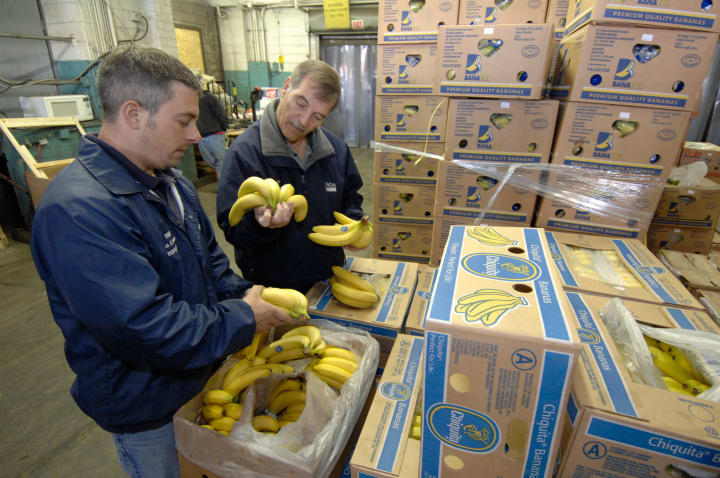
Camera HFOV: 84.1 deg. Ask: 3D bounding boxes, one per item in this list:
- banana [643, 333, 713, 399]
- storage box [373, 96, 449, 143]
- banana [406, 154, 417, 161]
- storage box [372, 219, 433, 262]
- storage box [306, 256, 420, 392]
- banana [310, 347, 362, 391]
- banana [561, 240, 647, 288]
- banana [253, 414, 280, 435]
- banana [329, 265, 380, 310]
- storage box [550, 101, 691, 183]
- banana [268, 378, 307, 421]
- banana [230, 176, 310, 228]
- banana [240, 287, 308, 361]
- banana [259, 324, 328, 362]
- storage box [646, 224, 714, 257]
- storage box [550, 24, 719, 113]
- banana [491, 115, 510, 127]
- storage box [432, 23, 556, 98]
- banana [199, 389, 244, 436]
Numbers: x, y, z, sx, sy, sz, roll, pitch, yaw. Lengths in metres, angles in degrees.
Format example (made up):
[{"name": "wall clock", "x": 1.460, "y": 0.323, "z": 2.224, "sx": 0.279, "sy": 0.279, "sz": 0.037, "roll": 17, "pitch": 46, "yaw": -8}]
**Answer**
[{"name": "banana", "x": 1.481, "y": 0.601, "z": 1.955, "sx": 0.160, "sy": 0.125, "sz": 0.330, "roll": -39, "pitch": 50, "yaw": -7}, {"name": "storage box", "x": 0.486, "y": -1.126, "z": 3.712, "sx": 0.524, "sy": 0.324, "sz": 0.535, "roll": 1, "pitch": 20, "yaw": 3}, {"name": "banana", "x": 0.478, "y": -0.782, "z": 3.834, "sx": 0.114, "sy": 0.072, "sz": 0.021, "roll": 8, "pitch": 26, "yaw": 11}, {"name": "storage box", "x": 0.435, "y": 0.020, "z": 4.078, "sx": 0.466, "sy": 0.279, "sz": 0.456, "roll": 2, "pitch": 8, "yaw": 10}, {"name": "storage box", "x": 0.082, "y": 0.510, "z": 2.636, "sx": 0.629, "sy": 0.390, "sz": 0.643, "roll": 8, "pitch": 28, "yaw": 15}, {"name": "banana", "x": -0.165, "y": 0.717, "z": 2.155, "sx": 0.244, "sy": 0.101, "sz": 0.133, "roll": 37, "pitch": 7, "yaw": -4}, {"name": "banana", "x": 1.448, "y": 0.171, "z": 2.396, "sx": 0.242, "sy": 0.068, "sz": 0.255, "roll": 1, "pitch": 29, "yaw": -4}, {"name": "banana", "x": -0.488, "y": 0.958, "z": 2.058, "sx": 0.131, "sy": 0.072, "sz": 0.075, "roll": 18, "pitch": 59, "yaw": -7}, {"name": "banana", "x": -0.034, "y": 0.319, "z": 2.465, "sx": 0.387, "sy": 0.142, "sz": 0.192, "roll": 26, "pitch": 27, "yaw": 27}, {"name": "storage box", "x": 1.603, "y": -0.638, "z": 2.495, "sx": 0.735, "sy": 0.533, "sz": 0.350, "roll": 8, "pitch": 24, "yaw": 15}, {"name": "banana", "x": -0.407, "y": 0.875, "z": 2.193, "sx": 0.180, "sy": 0.215, "sz": 0.071, "roll": 52, "pitch": 0, "yaw": 12}, {"name": "banana", "x": -0.554, "y": -0.209, "z": 2.270, "sx": 0.468, "sy": 0.225, "sz": 0.200, "roll": -7, "pitch": 20, "yaw": -41}, {"name": "banana", "x": -0.410, "y": 0.390, "z": 2.127, "sx": 0.219, "sy": 0.163, "sz": 0.720, "roll": 18, "pitch": 5, "yaw": 2}, {"name": "banana", "x": -0.371, "y": 0.596, "z": 2.201, "sx": 0.353, "sy": 0.113, "sz": 0.172, "roll": -12, "pitch": 24, "yaw": 15}, {"name": "storage box", "x": 2.464, "y": -0.061, "z": 3.076, "sx": 0.327, "sy": 0.198, "sz": 0.315, "roll": -10, "pitch": 14, "yaw": -39}, {"name": "storage box", "x": 1.662, "y": -1.017, "z": 2.430, "sx": 0.639, "sy": 0.325, "sz": 0.614, "roll": 6, "pitch": 23, "yaw": 4}, {"name": "banana", "x": 0.912, "y": -0.764, "z": 2.597, "sx": 0.106, "sy": 0.072, "sz": 0.025, "roll": 1, "pitch": 12, "yaw": 10}, {"name": "storage box", "x": 0.942, "y": -1.266, "z": 2.757, "sx": 0.715, "sy": 0.427, "sz": 0.705, "roll": 9, "pitch": 30, "yaw": 19}, {"name": "banana", "x": -0.677, "y": 0.835, "z": 1.942, "sx": 0.187, "sy": 0.075, "sz": 0.186, "roll": 44, "pitch": 60, "yaw": -4}]
